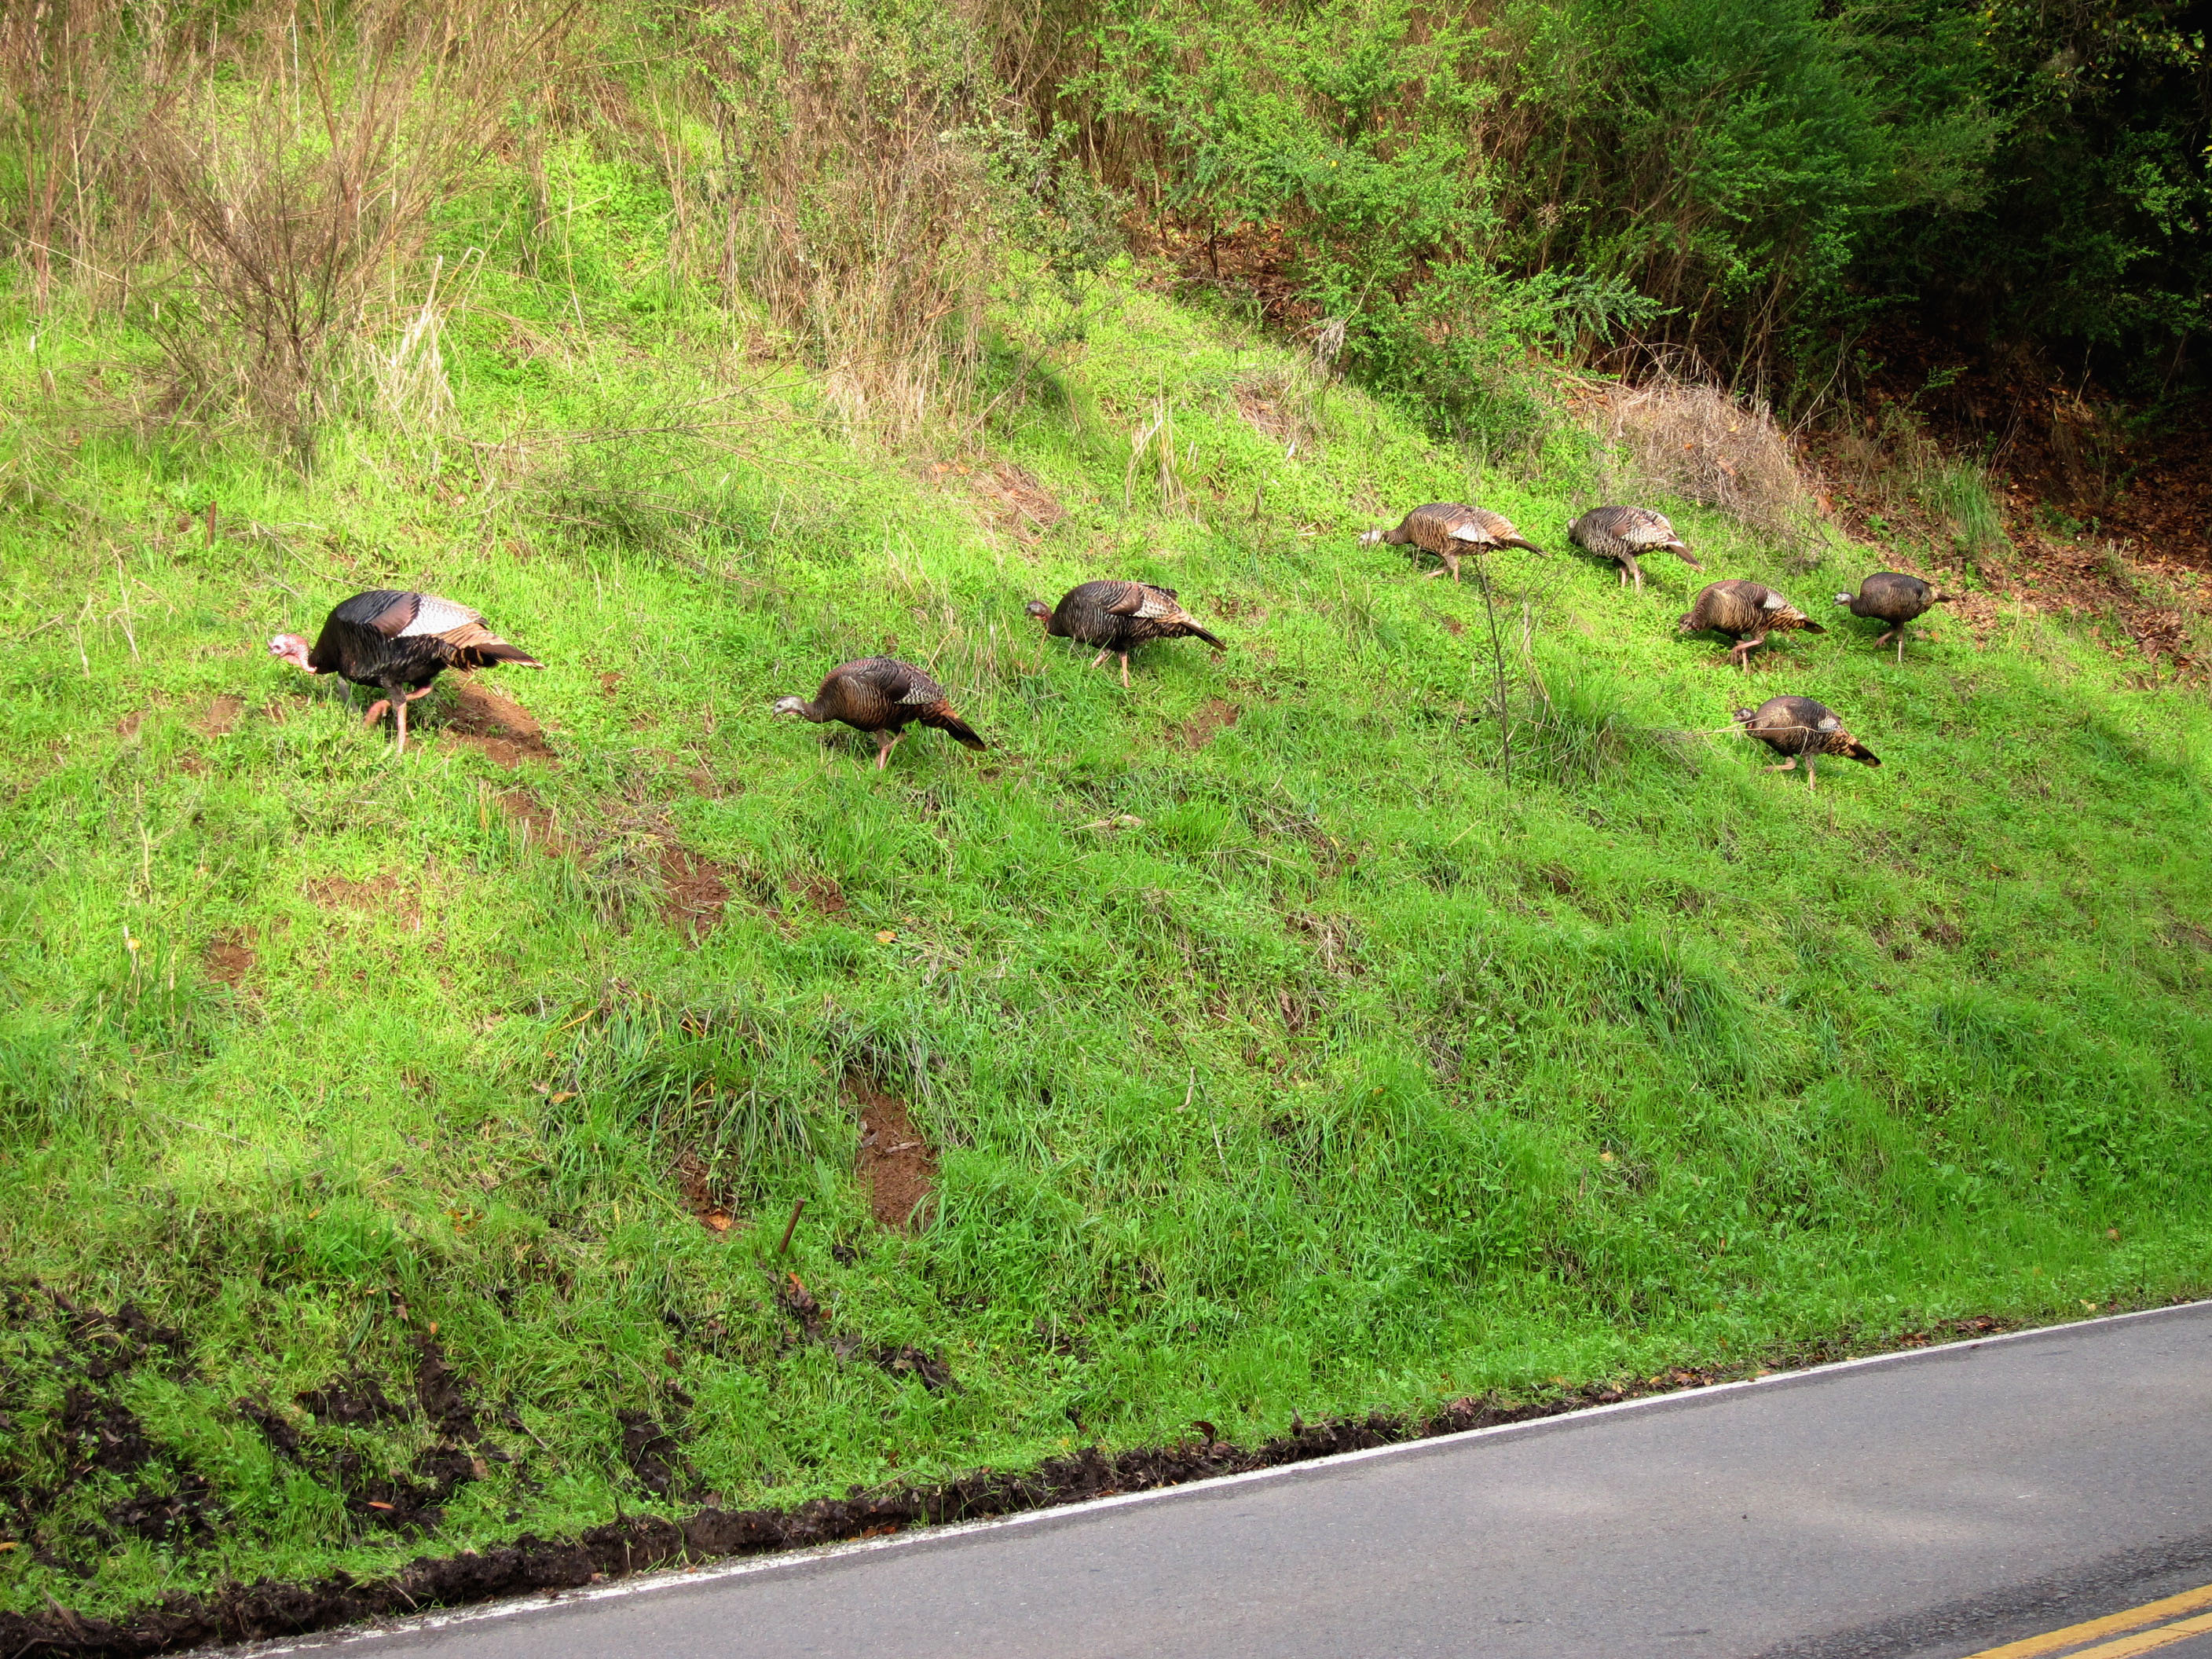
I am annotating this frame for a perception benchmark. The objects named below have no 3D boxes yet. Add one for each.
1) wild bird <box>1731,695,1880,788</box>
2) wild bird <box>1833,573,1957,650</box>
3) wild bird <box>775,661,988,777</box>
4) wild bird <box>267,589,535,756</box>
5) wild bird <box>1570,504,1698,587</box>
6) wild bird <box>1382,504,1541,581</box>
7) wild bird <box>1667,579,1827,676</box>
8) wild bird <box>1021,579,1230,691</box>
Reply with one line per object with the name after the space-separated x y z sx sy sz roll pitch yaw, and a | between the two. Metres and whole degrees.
4.301 -0.573 18.266 0.799 0.544 0.393 -12 -5 -7 | wild bird
5.188 -1.487 19.832 0.654 0.491 0.398 -2 15 7 | wild bird
-1.129 -0.623 15.383 1.071 0.534 0.464 -7 9 9 | wild bird
-3.511 -0.794 14.679 1.160 0.842 0.600 -1 5 -8 | wild bird
3.501 -1.893 19.224 0.922 0.597 0.393 2 33 40 | wild bird
2.105 -1.816 18.537 1.097 0.468 0.397 6 4 23 | wild bird
4.040 -1.341 18.996 0.915 0.572 0.396 10 16 -8 | wild bird
0.107 -1.097 16.511 1.069 0.540 0.468 -4 6 7 | wild bird
